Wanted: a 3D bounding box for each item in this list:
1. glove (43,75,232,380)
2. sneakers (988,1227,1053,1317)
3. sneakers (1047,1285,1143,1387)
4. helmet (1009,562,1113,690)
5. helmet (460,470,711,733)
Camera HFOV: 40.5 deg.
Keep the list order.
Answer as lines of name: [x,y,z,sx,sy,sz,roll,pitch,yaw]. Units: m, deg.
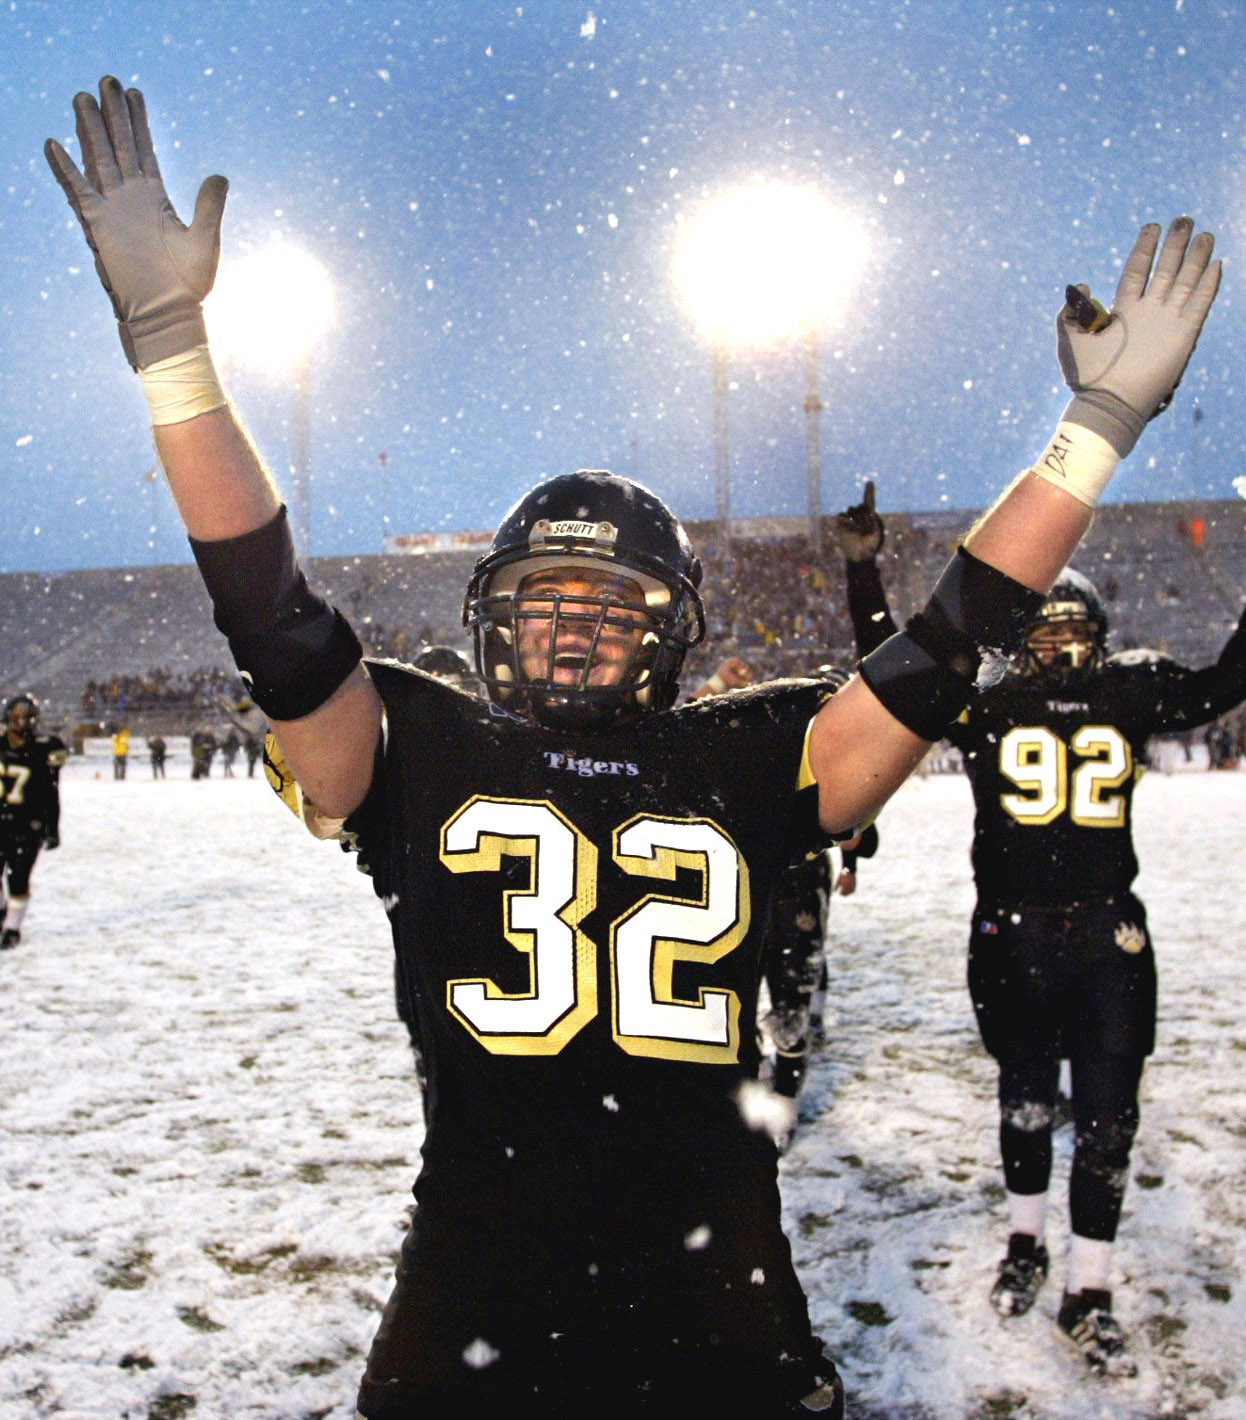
glove: [-0.765,-0.757,2.655,0.276,0.459,0.131,3,9,31]
sneakers: [0.930,1.320,3.948,0.083,0.093,0.239,9,44,20]
sneakers: [1.056,1.400,3.769,0.099,0.095,0.186,3,43,-17]
helmet: [1.130,-0.222,4.292,0.305,0.350,0.385,0,-11,6]
helmet: [-0.028,-0.171,3.150,0.432,0.418,0.487,2,-13,5]
